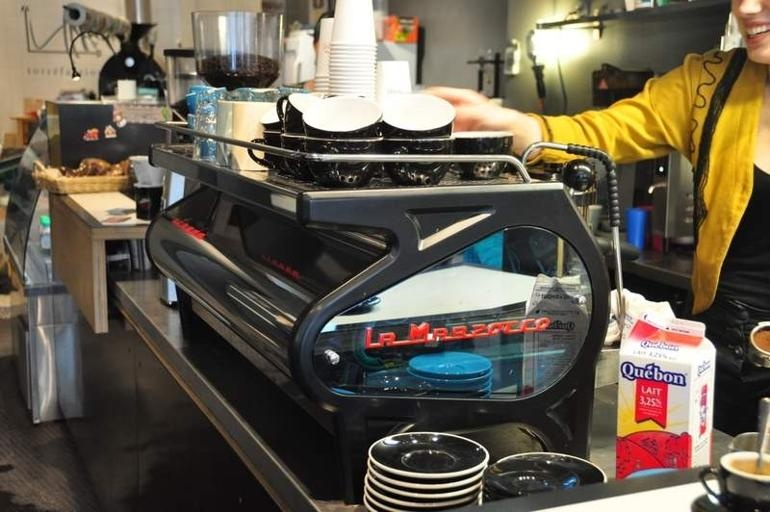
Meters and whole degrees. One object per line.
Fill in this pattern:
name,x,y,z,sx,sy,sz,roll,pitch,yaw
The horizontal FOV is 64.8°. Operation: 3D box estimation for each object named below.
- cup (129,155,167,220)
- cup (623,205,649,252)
cup,-0.960,-0.279,2.473,0.123,0.246,0.334,-4,15,-21
cup,1.425,-0.152,3.431,0.153,0.224,0.145,3,-5,0
